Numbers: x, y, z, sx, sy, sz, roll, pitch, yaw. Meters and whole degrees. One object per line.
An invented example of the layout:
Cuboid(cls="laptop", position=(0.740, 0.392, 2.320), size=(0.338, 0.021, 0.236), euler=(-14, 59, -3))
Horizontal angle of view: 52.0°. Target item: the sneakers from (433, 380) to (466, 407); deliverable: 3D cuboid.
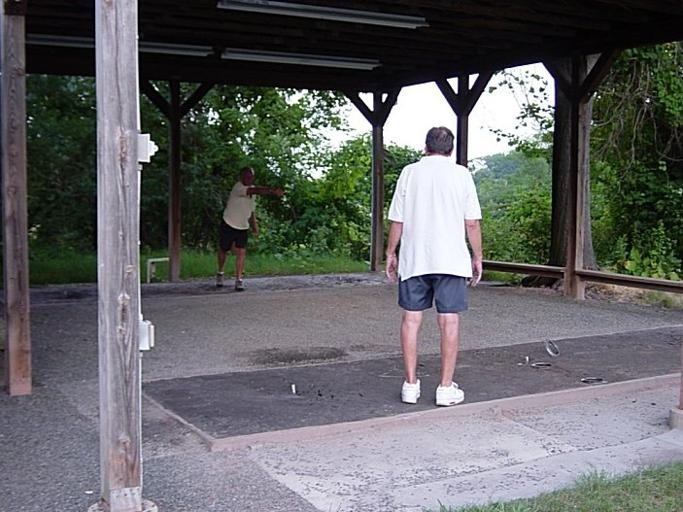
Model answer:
Cuboid(cls="sneakers", position=(0.854, 1.081, 5.513), size=(0.295, 0.131, 0.111), euler=(-7, 7, -43))

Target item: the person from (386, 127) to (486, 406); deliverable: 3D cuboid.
Cuboid(cls="person", position=(0.747, 0.183, 5.577), size=(0.745, 1.926, 0.442), euler=(0, 4, 4))

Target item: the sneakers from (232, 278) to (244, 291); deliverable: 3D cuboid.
Cuboid(cls="sneakers", position=(-1.661, 0.468, 11.395), size=(0.198, 0.223, 0.531), euler=(0, -1, -10))

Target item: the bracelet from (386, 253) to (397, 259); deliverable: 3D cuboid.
Cuboid(cls="bracelet", position=(0.426, 0.000, 5.868), size=(0.054, 0.059, 0.035), euler=(8, -5, 5))
